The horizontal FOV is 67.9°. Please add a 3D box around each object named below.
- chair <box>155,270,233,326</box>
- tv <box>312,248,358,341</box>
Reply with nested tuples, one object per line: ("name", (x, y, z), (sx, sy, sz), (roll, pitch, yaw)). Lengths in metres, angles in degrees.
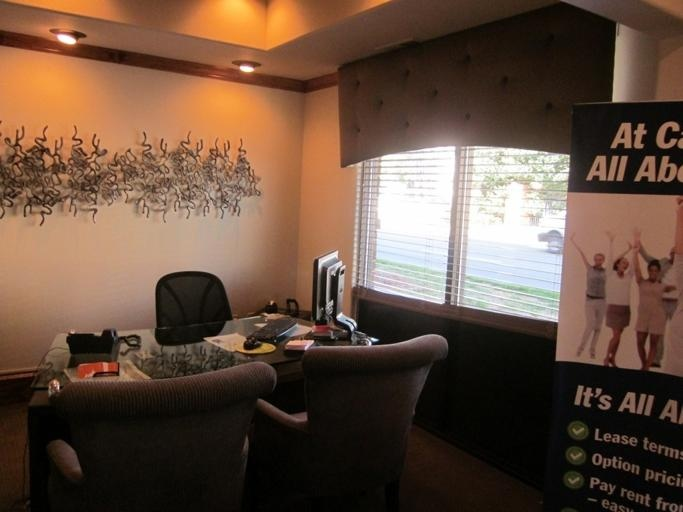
("chair", (-1.100, 0.249, 3.784), (0.412, 0.617, 0.438), (-4, 7, -24))
("tv", (-0.036, 0.251, 3.386), (0.258, 0.516, 0.501), (2, 6, 16))
